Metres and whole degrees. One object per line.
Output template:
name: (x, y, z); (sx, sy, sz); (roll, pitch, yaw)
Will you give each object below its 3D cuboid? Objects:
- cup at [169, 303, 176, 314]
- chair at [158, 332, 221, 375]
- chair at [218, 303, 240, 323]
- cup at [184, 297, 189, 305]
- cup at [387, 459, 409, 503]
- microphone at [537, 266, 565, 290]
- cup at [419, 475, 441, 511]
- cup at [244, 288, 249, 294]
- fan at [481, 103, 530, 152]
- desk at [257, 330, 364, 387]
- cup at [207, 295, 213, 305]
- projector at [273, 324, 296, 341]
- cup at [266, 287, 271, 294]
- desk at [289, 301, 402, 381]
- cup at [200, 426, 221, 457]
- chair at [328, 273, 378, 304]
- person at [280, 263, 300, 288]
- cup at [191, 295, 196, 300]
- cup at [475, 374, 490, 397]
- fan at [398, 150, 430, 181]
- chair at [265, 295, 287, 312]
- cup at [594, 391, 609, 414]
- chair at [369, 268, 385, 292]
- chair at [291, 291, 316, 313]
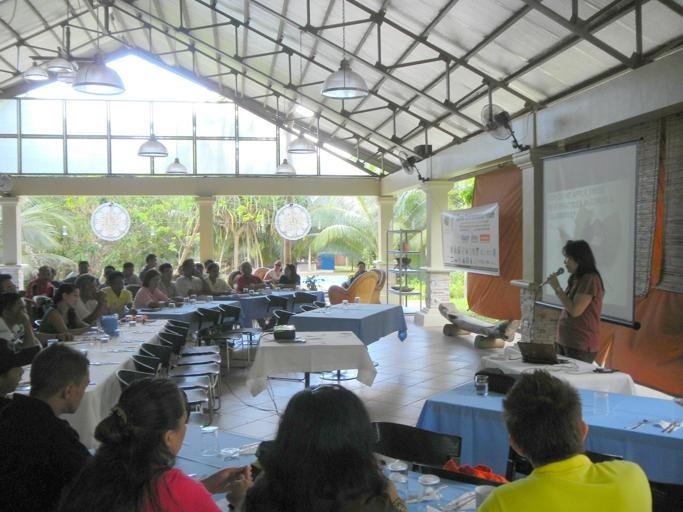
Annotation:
cup: (-2.247, 0.697, 7.503); (0.100, 0.106, 0.187); (1, 0, -12)
chair: (-1.585, 1.036, 5.993); (0.481, 0.736, 0.473); (-1, 4, 0)
chair: (-1.541, 0.762, 7.853); (0.239, 0.344, 0.254); (-4, 7, -29)
cup: (-2.305, 0.667, 8.447); (0.089, 0.134, 0.091); (-3, -10, 0)
cup: (0.287, 1.101, 2.786); (0.100, 0.166, 0.107); (0, 1, 0)
microphone: (2.341, 0.238, 6.264); (0.470, 0.080, 0.088); (-35, 34, -30)
cup: (0.430, 1.100, 2.738); (0.095, 0.090, 0.188); (0, -1, 10)
cup: (-1.630, 0.589, 9.732); (0.069, 0.072, 0.069); (3, 7, 0)
fan: (2.117, -1.651, 7.259); (0.643, 0.578, 0.443); (1, -1, -43)
desk: (-0.303, 1.036, 5.567); (1.206, 0.469, 0.517); (1, -1, -9)
cup: (-1.992, 0.670, 8.566); (0.081, 0.158, 0.083); (-2, -2, 0)
projector: (-0.559, 0.750, 5.561); (0.128, 0.128, 0.182); (-1, -2, -8)
cup: (-1.286, 0.606, 9.981); (0.069, 0.073, 0.131); (2, -4, -9)
desk: (0.054, 0.994, 6.629); (0.924, 0.466, 1.737); (-1, -3, 17)
cup: (-0.713, 1.005, 3.118); (0.121, 0.197, 0.124); (-1, 1, 0)
chair: (0.238, 0.652, 11.165); (0.758, 0.857, 0.656); (1, 0, 11)
person: (-0.983, 0.364, 10.807); (0.388, 0.437, 0.761); (1, -1, -5)
cup: (-2.226, 0.624, 8.518); (0.072, 0.074, 0.055); (2, 14, 0)
cup: (0.988, 0.902, 3.960); (0.125, 0.135, 0.094); (-2, 6, -15)
fan: (1.342, -1.744, 10.840); (0.592, 0.848, 0.629); (-1, 4, -6)
chair: (-1.031, 0.738, 9.154); (0.281, 0.316, 0.258); (-4, 4, -13)
cup: (1.668, 0.937, 3.629); (0.115, 0.133, 0.114); (1, 0, 0)
chair: (0.776, 0.406, 11.514); (0.411, 0.394, 0.351); (-1, 44, -4)
chair: (-0.610, 0.726, 9.518); (0.351, 0.450, 0.350); (-2, 5, -19)
